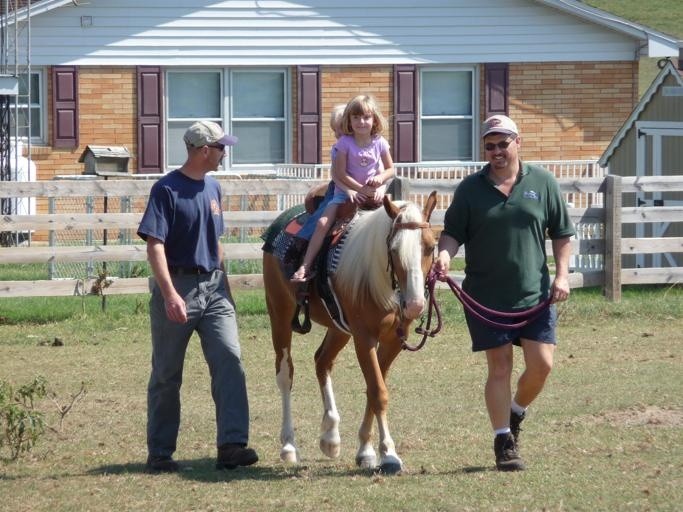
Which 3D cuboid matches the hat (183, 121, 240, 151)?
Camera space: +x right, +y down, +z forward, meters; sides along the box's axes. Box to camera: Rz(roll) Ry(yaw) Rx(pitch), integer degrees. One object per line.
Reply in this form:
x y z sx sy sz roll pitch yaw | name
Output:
-1.693 -1.518 19.623 0.535 0.279 0.347 -11 17 -2 | hat

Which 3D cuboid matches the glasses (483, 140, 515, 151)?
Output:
1.930 -1.393 19.417 0.331 0.114 0.104 0 5 5 | glasses

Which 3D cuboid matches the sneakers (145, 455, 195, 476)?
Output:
-2.146 2.517 19.455 0.605 0.278 0.217 1 3 1 | sneakers

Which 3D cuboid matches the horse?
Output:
0.054 0.907 20.584 1.301 3.682 4.309 -1 1 -26 | horse
